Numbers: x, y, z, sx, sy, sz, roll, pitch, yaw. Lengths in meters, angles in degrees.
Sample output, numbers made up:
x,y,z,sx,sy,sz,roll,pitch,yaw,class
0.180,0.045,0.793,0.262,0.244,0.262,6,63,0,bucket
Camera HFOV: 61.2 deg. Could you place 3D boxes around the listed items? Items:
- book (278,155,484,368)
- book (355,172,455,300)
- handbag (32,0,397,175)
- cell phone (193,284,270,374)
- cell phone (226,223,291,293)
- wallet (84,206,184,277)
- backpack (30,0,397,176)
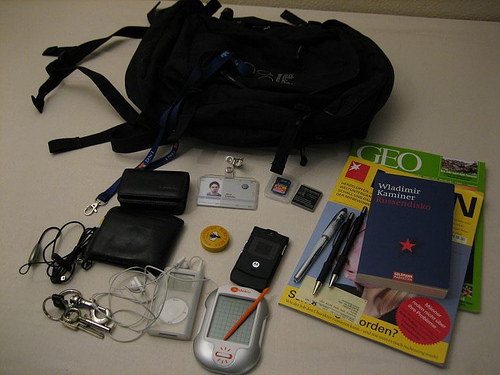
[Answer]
x,y,z,sx,sy,sz,roll,pitch,yaw,class
0.364,0.225,1.174,0.416,0.090,0.614,15,60,14,book
0.440,0.125,1.182,0.235,0.070,0.357,8,61,16,book
0.020,-0.339,1.452,0.873,0.498,0.539,15,24,15,handbag
-0.047,0.370,1.108,0.181,0.144,0.165,10,24,5,cell phone
0.027,0.205,1.206,0.121,0.118,0.159,20,26,27,cell phone
-0.343,0.146,1.228,0.195,0.048,0.201,11,58,7,wallet
-0.136,-0.362,1.459,1.045,0.300,0.773,9,58,2,backpack
